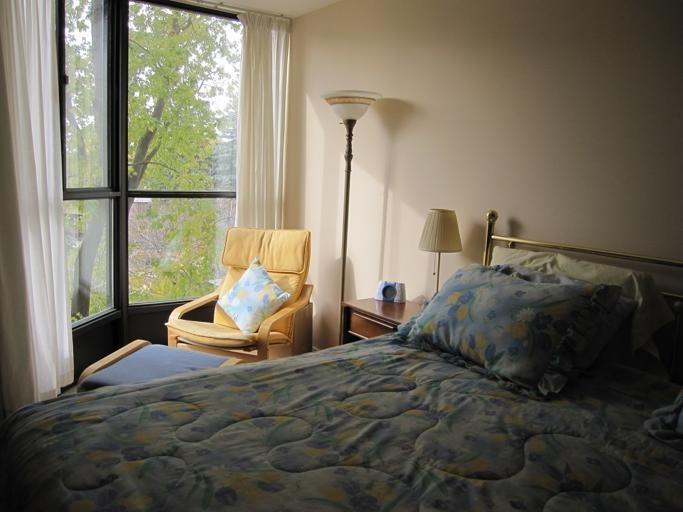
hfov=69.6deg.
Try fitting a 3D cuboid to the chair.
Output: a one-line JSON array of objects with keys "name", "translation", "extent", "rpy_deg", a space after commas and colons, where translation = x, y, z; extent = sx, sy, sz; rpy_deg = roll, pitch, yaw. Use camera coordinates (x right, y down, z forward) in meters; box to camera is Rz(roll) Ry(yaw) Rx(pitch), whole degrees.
[{"name": "chair", "translation": [-0.709, 0.391, 3.562], "extent": [0.824, 1.134, 0.895], "rpy_deg": [5, 6, 25]}]

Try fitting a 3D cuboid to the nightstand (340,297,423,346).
[{"name": "nightstand", "translation": [0.264, 0.346, 3.205], "extent": [0.305, 0.408, 0.397], "rpy_deg": [-7, 13, -39]}]

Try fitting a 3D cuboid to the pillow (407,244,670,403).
[{"name": "pillow", "translation": [0.923, 0.243, 2.162], "extent": [0.674, 0.256, 0.669], "rpy_deg": [-36, 33, -26]}]

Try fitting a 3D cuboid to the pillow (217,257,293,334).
[{"name": "pillow", "translation": [-0.623, 0.311, 3.491], "extent": [0.459, 0.444, 0.137], "rpy_deg": [45, 8, 38]}]
